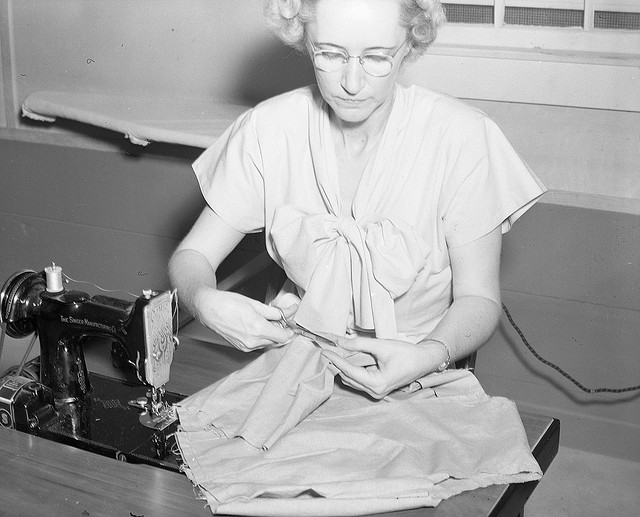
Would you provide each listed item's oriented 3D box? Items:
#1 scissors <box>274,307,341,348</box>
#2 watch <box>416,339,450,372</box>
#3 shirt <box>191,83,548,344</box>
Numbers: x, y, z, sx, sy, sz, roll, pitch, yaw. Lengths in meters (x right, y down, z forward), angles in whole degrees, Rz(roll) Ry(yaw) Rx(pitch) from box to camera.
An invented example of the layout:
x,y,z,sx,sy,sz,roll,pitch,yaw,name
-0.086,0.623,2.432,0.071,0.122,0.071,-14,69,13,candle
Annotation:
x,y,z,sx,sy,sz,roll,pitch,yaw,name
-0.026,0.142,1.582,0.182,0.017,0.062,27,58,38,scissors
0.274,0.224,1.579,0.054,0.075,0.024,-2,-7,4,watch
0.117,-0.104,1.826,0.776,0.677,0.448,7,32,21,shirt
